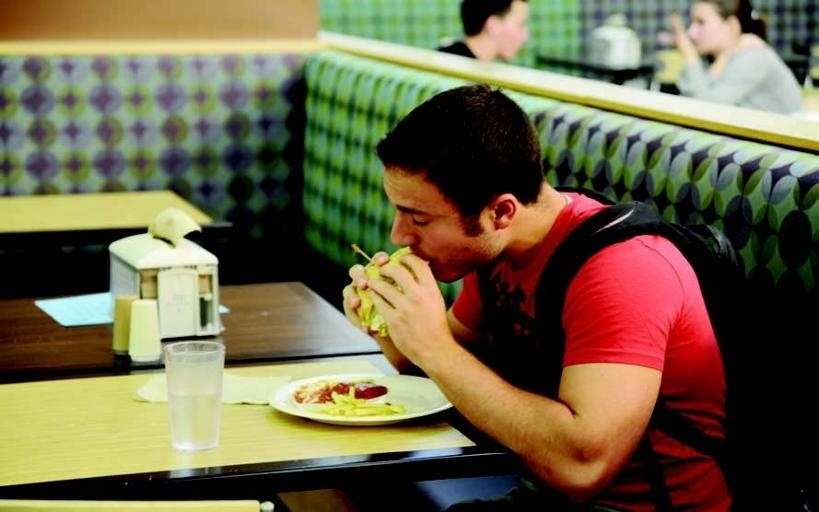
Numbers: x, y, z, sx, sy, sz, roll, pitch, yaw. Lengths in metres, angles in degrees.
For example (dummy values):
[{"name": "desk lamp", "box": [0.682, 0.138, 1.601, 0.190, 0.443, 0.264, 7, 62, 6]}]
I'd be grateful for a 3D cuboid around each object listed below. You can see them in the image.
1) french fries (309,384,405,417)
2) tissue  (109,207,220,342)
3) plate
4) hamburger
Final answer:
[{"name": "french fries", "box": [-0.136, 0.314, 1.600, 0.180, 0.055, 0.169, -8, 12, -39]}, {"name": "tissue ", "box": [-0.745, 0.036, 2.109, 0.310, 0.408, 0.300, -5, 15, -25]}, {"name": "plate", "box": [-0.105, 0.309, 1.609, 0.301, 0.090, 0.256, -8, 10, -28]}, {"name": "hamburger", "box": [-0.040, 0.103, 1.798, 0.174, 0.233, 0.178, -5, 16, -13]}]
